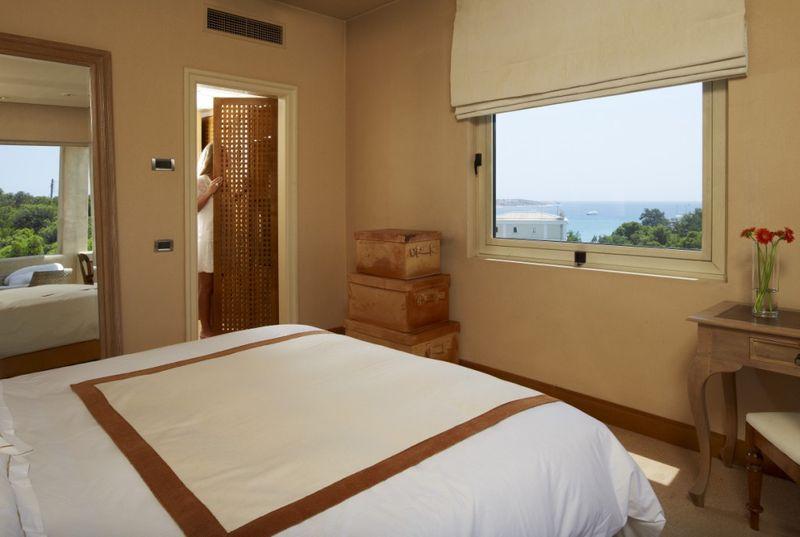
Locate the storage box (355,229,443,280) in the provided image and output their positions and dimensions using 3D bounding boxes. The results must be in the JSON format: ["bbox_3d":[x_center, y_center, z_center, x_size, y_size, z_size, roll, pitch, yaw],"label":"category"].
[{"bbox_3d":[-0.002,-0.133,4.463,0.445,0.338,0.608,-8,11,-44],"label":"storage box"}]

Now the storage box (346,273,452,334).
[{"bbox_3d":[0.069,0.250,4.319,0.628,0.332,0.467,3,6,43],"label":"storage box"}]

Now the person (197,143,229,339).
[{"bbox_3d":[-1.904,-0.280,5.377,0.314,1.931,0.509,-4,8,-21],"label":"person"}]
